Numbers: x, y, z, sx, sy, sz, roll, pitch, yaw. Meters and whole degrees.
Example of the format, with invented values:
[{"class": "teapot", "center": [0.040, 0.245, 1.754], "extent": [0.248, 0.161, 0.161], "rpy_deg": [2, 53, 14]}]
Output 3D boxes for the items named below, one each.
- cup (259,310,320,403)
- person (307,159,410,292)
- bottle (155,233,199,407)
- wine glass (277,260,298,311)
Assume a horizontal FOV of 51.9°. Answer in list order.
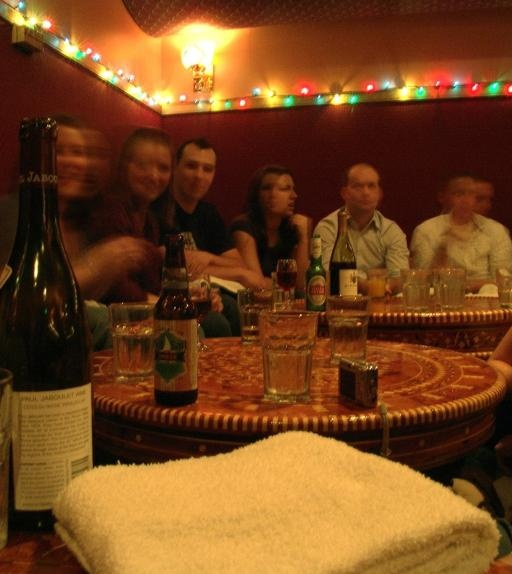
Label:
[{"class": "cup", "center": [0.053, 0.111, 0.839], "extent": [0.085, 0.137, 0.095], "rpy_deg": [0, -4, -16]}, {"class": "person", "center": [0.880, -0.305, 4.486], "extent": [0.754, 1.498, 0.743], "rpy_deg": [0, 7, 1]}, {"class": "bottle", "center": [-0.112, 0.052, 0.744], "extent": [0.061, 0.213, 0.099], "rpy_deg": [0, 0, -9]}, {"class": "wine glass", "center": [0.115, -0.015, 2.007], "extent": [0.079, 0.207, 0.078], "rpy_deg": [4, 17, 16]}]
